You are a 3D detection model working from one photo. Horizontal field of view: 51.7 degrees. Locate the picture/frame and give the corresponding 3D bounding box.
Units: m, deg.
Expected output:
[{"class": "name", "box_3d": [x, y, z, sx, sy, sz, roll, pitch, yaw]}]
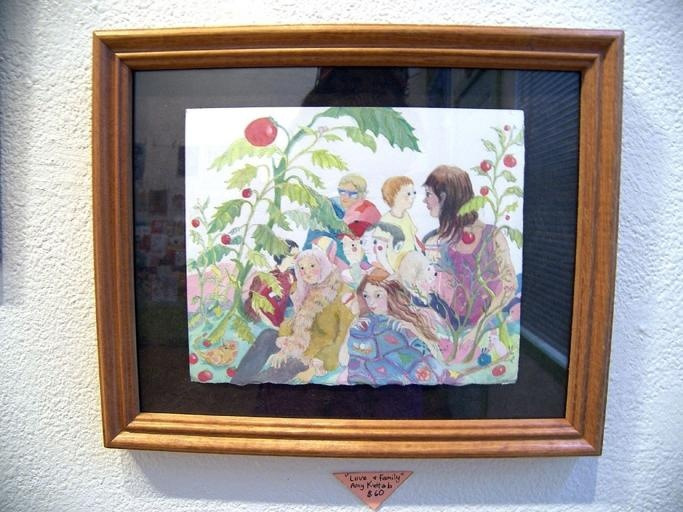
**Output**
[{"class": "picture/frame", "box_3d": [0.041, -0.047, 1.210, 0.770, 0.053, 0.611, 0, 97, 3]}]
